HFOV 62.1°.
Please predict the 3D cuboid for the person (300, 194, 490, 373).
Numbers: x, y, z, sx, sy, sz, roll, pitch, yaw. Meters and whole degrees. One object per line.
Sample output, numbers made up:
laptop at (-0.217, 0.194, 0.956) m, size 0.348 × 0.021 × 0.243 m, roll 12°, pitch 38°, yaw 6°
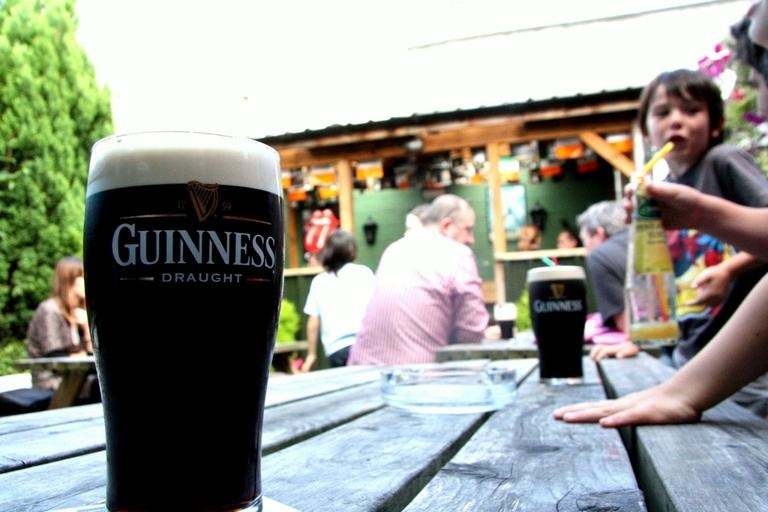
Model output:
person at (0.163, 0.116, 3.419) m, size 0.764 × 0.895 × 0.436 m, roll -6°, pitch -1°, yaw -3°
